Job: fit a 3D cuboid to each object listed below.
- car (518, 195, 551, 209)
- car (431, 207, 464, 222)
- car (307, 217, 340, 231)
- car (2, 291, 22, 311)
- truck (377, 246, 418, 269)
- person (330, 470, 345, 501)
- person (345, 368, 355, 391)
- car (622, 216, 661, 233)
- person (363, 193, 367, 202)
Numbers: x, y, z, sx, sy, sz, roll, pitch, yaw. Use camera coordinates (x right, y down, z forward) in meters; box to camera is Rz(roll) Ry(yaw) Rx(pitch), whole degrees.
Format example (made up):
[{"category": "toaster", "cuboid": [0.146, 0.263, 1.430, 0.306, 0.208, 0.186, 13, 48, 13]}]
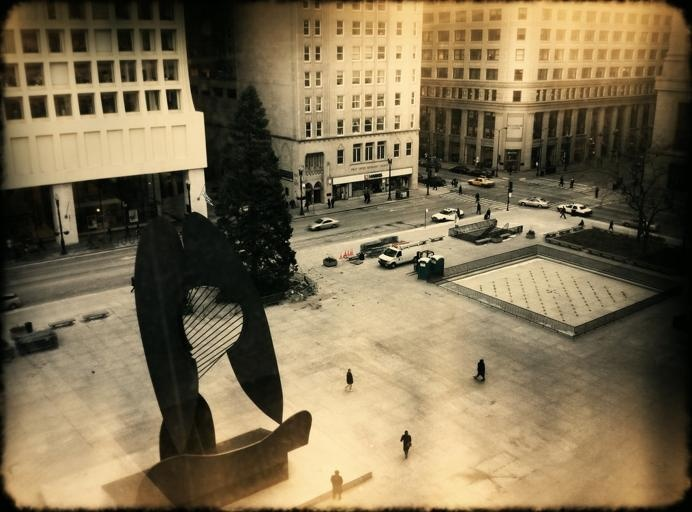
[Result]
[{"category": "car", "cuboid": [28.600, -7.953, 85.136, 4.456, 1.320, 2.671, 4, 17, 27]}, {"category": "car", "cuboid": [14.104, -5.619, 77.686, 3.733, 1.364, 2.056, -10, 21, -25]}, {"category": "car", "cuboid": [-3.099, -4.228, 73.945, 3.820, 1.288, 1.708, -8, 32, -22]}, {"category": "car", "cuboid": [-31.044, 4.307, 51.906, 1.794, 0.974, 1.035, 2, 10, -31]}, {"category": "truck", "cuboid": [5.572, 0.028, 61.703, 3.614, 1.717, 2.303, -10, 24, -23]}, {"category": "person", "cuboid": [-0.489, 12.307, 30.133, 0.696, 1.652, 0.899, -4, 15, 0]}, {"category": "person", "cuboid": [0.229, 8.638, 39.714, 0.592, 1.424, 1.861, -4, 15, 0]}, {"category": "car", "cuboid": [38.320, -4.017, 72.795, 2.403, 0.807, 2.424, -14, 30, -24]}, {"category": "person", "cuboid": [3.049, -9.109, 87.174, 0.485, 1.407, 2.027, -5, 15, -4]}]
